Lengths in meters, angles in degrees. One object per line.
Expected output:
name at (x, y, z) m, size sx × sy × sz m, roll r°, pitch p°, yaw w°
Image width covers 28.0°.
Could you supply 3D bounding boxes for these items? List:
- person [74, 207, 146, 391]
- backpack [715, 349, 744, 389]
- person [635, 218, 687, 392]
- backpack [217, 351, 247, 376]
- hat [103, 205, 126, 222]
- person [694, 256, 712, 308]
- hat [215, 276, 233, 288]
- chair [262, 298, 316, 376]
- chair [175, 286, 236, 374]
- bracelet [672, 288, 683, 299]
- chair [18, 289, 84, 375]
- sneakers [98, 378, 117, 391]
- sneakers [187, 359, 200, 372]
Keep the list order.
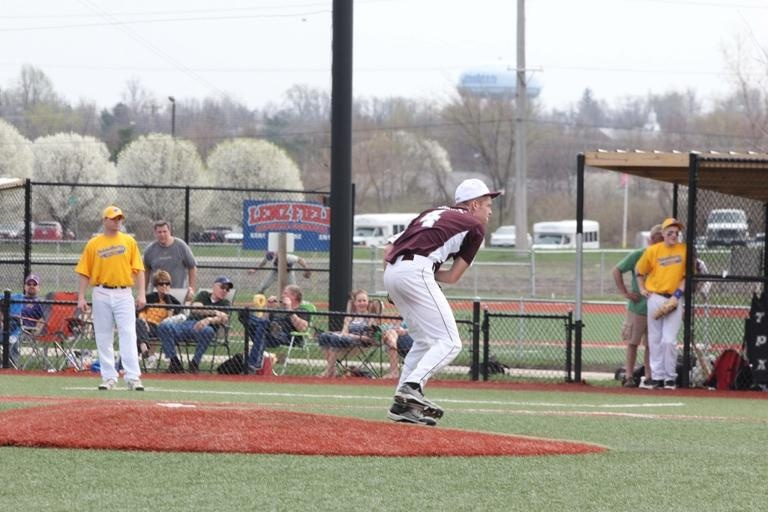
person at (-5.302, 0.765, 30.031) m, size 1.279 × 3.519 × 0.809 m, roll 1°, pitch 7°, yaw -8°
backpack at (7.067, 2.256, 31.510) m, size 0.447 × 0.838 × 0.583 m, roll 2°, pitch 11°, yaw -42°
person at (5.650, 0.888, 31.387) m, size 0.903 × 3.388 × 0.650 m, roll 5°, pitch 7°, yaw 22°
backpack at (-3.212, 2.244, 32.602) m, size 0.522 × 0.404 × 0.175 m, roll -35°, pitch -12°, yaw 12°
hat at (-5.340, -0.881, 30.087) m, size 0.302 × 0.223 × 0.409 m, roll -1°, pitch 0°, yaw -31°
person at (6.531, 0.445, 31.597) m, size 0.323 × 0.968 × 0.704 m, roll 3°, pitch 7°, yaw 13°
hat at (-3.475, 0.471, 33.329) m, size 0.261 × 0.222 × 0.420 m, roll 22°, pitch 0°, yaw -31°
chair at (-1.985, 1.749, 33.651) m, size 1.364 × 1.836 × 1.233 m, roll 1°, pitch -1°, yaw -34°
chair at (-3.778, 1.375, 32.955) m, size 0.942 × 1.893 × 1.289 m, roll 2°, pitch 7°, yaw -3°
bracelet at (5.966, 0.685, 31.176) m, size 0.165 × 0.187 × 0.168 m, roll 4°, pitch 14°, yaw -39°
chair at (-7.312, 1.636, 33.830) m, size 1.553 × 2.203 × 1.577 m, roll -1°, pitch -2°, yaw 30°
sneakers at (-5.379, 2.426, 29.984) m, size 0.154 × 0.158 × 0.387 m, roll -1°, pitch -5°, yaw 21°
sneakers at (-4.041, 2.239, 32.728) m, size 0.219 × 0.221 × 0.211 m, roll -4°, pitch 6°, yaw -18°
